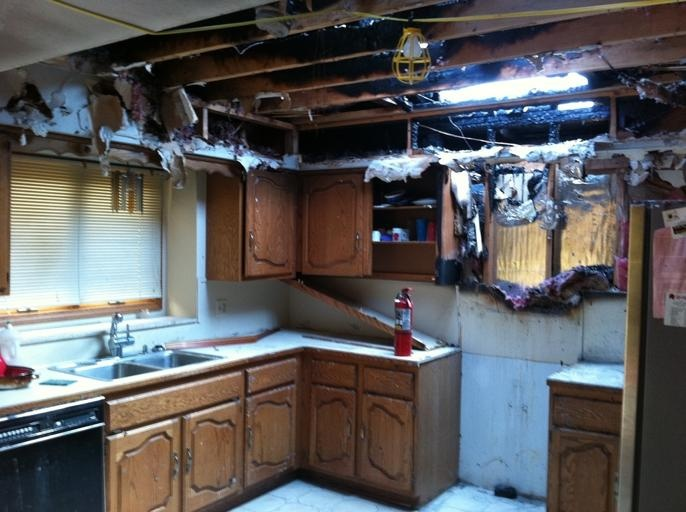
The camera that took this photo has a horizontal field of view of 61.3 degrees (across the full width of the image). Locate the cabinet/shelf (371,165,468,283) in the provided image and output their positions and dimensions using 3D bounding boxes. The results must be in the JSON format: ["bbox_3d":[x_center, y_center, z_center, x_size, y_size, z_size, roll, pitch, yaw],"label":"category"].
[{"bbox_3d":[0.613,-0.258,4.400,0.900,1.001,0.546,-2,-3,34],"label":"cabinet/shelf"}]

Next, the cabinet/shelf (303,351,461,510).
[{"bbox_3d":[0.288,1.052,4.534,1.365,1.289,0.954,-2,-8,31],"label":"cabinet/shelf"}]

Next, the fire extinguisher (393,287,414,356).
[{"bbox_3d":[0.424,0.460,4.056,0.104,0.458,0.128,1,4,-4],"label":"fire extinguisher"}]

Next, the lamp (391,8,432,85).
[{"bbox_3d":[0.342,-1.009,2.901,0.209,0.300,0.765,2,4,8],"label":"lamp"}]

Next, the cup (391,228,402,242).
[{"bbox_3d":[0.425,-0.161,4.438,0.078,0.102,0.085,1,4,0],"label":"cup"}]
